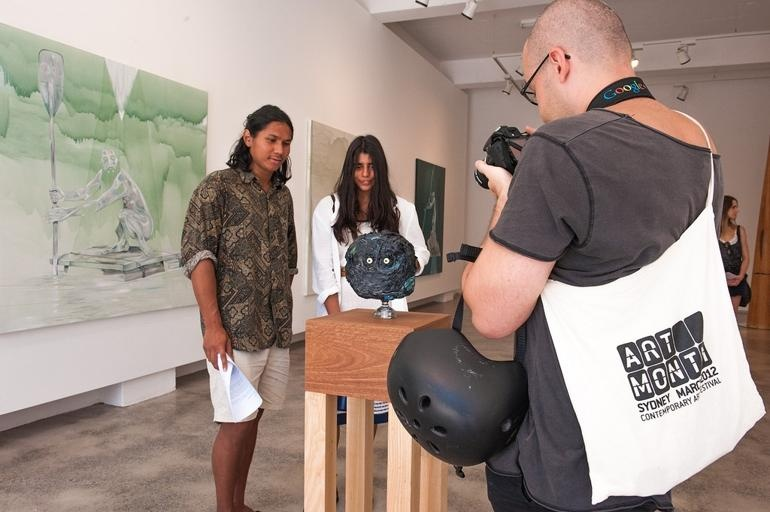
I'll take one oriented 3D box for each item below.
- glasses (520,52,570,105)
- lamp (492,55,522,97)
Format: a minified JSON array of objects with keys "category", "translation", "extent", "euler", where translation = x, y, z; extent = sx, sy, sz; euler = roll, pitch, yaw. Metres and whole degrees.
[{"category":"glasses","translation":[0.477,-0.560,1.528],"extent":[0.038,0.133,0.128],"euler":[35,24,21]},{"category":"lamp","translation":[2.359,-3.298,9.229],"extent":[0.685,0.363,1.134],"euler":[23,5,15]}]
